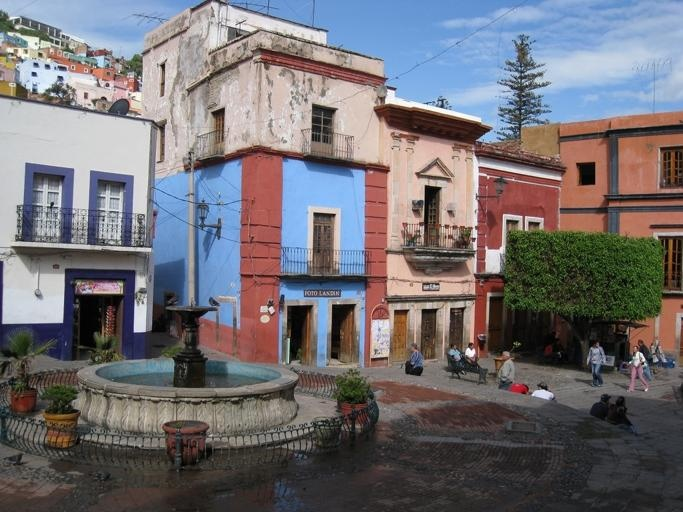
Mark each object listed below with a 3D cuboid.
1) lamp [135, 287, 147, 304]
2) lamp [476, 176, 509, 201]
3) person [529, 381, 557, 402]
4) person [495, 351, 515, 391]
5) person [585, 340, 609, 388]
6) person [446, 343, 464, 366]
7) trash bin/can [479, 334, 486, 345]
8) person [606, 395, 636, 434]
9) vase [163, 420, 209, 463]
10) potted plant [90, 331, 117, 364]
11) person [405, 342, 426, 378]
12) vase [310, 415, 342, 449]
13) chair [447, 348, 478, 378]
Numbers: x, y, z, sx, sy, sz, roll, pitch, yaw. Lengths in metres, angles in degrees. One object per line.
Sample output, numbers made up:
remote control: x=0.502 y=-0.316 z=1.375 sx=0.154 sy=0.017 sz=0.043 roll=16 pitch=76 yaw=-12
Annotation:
lamp: x=-7.672 y=1.557 z=29.265 sx=0.381 sy=0.581 sz=0.558 roll=0 pitch=6 yaw=-7
lamp: x=7.211 y=-3.061 z=35.900 sx=0.987 sy=0.952 sz=1.383 roll=6 pitch=-11 yaw=-44
person: x=6.611 y=4.468 z=25.000 sx=0.675 sy=0.481 sz=1.008 roll=3 pitch=6 yaw=1
person: x=6.034 y=4.115 z=27.823 sx=0.512 sy=1.288 sz=2.510 roll=4 pitch=6 yaw=13
person: x=10.005 y=4.231 z=29.893 sx=0.588 sy=1.745 sz=1.381 roll=4 pitch=7 yaw=20
person: x=4.701 y=4.131 z=31.724 sx=0.253 sy=0.385 sz=0.933 roll=-22 pitch=-30 yaw=17
trash bin/can: x=6.752 y=4.003 z=36.447 sx=0.286 sy=0.457 sz=0.444 roll=1 pitch=1 yaw=-1
person: x=8.325 y=4.943 z=22.713 sx=0.749 sy=1.476 sz=0.764 roll=-4 pitch=6 yaw=-4
vase: x=-3.800 y=4.522 z=18.492 sx=0.896 sy=0.768 sz=0.959 roll=1 pitch=-11 yaw=-2
potted plant: x=-7.631 y=2.993 z=24.532 sx=0.788 sy=0.894 sz=1.346 roll=0 pitch=7 yaw=-19
person: x=2.883 y=4.180 z=30.397 sx=0.666 sy=1.277 sz=0.625 roll=4 pitch=-4 yaw=19
vase: x=-0.386 y=4.633 z=20.004 sx=0.678 sy=0.645 sz=0.848 roll=0 pitch=-9 yaw=2
chair: x=4.651 y=4.140 z=29.639 sx=0.897 sy=0.848 sz=1.176 roll=7 pitch=-9 yaw=-23
